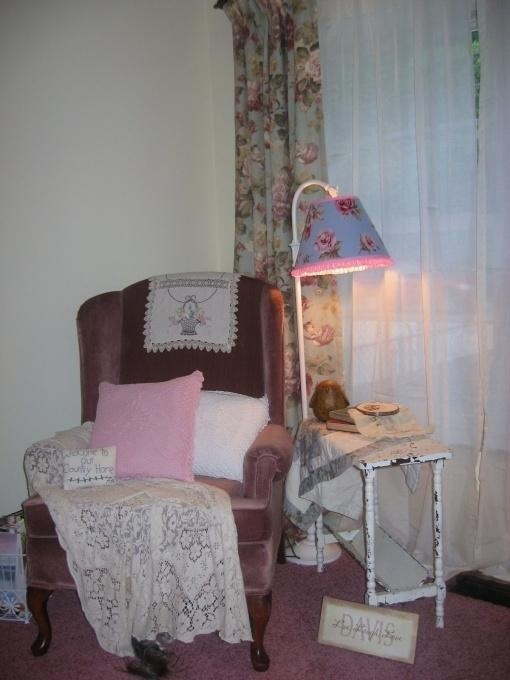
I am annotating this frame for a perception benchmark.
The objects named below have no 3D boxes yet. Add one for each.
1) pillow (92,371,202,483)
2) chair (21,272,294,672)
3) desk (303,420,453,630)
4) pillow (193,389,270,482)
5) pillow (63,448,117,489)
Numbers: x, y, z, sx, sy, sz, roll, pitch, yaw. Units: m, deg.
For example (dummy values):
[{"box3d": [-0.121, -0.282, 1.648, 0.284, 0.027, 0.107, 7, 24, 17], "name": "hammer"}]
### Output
[{"box3d": [-0.376, 0.304, 2.197, 0.387, 0.323, 0.309, -3, 7, -6], "name": "pillow"}, {"box3d": [-0.244, 0.376, 2.533, 1.159, 1.702, 1.168, -1, -7, 5], "name": "chair"}, {"box3d": [0.391, 0.621, 2.307, 0.378, 0.617, 0.695, -3, 8, -16], "name": "desk"}, {"box3d": [-0.103, 0.348, 2.263, 0.250, 0.258, 0.317, -1, 7, 11], "name": "pillow"}, {"box3d": [-0.534, 0.435, 2.022, 0.171, 0.068, 0.250, -1, 22, -16], "name": "pillow"}]
